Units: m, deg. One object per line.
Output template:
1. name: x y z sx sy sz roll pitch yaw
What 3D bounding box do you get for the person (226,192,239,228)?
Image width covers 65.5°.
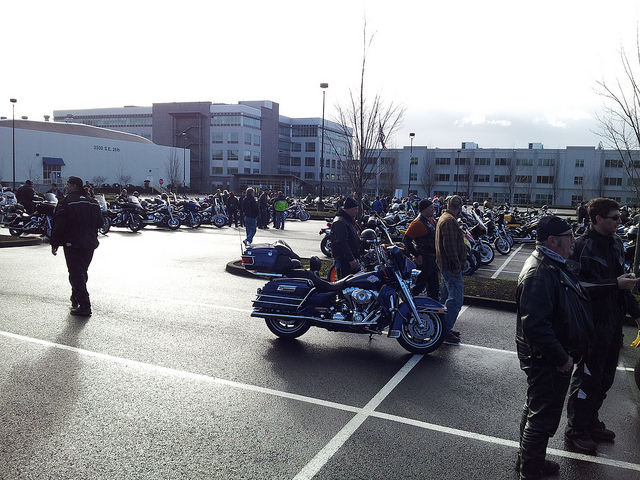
1. person: -5.139 -1.765 28.717 0.703 1.914 1.384 -1 9 -12

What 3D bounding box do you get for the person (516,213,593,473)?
1. person: 2.089 0.991 4.512 0.607 2.399 0.796 9 12 41

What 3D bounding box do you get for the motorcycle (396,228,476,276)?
1. motorcycle: 3.273 0.416 13.817 2.290 1.553 1.312 0 11 5

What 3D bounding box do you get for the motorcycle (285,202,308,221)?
1. motorcycle: -1.664 -1.999 35.386 1.484 1.032 0.966 8 26 16

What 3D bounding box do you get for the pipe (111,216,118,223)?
1. pipe: -9.883 -0.963 23.591 0.422 0.062 0.066 -40 32 -10

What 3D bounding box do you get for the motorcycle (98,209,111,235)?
1. motorcycle: -9.466 -0.747 21.604 0.501 1.191 3.291 -3 10 -24

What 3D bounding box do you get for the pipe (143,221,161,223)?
1. pipe: -8.376 -0.898 24.518 0.713 0.072 0.144 -7 12 -42

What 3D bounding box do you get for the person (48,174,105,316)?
1. person: -4.432 0.082 8.942 0.787 2.377 1.029 -2 9 -17

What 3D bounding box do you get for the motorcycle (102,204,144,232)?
1. motorcycle: -9.323 -1.081 23.495 1.439 1.217 0.800 3 9 9

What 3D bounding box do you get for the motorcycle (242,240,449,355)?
1. motorcycle: 0.406 0.787 8.163 3.276 2.042 1.486 2 10 6

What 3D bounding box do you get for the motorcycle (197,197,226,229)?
1. motorcycle: -6.458 -1.581 28.145 2.311 1.611 1.318 7 1 11

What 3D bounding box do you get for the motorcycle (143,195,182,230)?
1. motorcycle: -8.364 -1.472 24.890 2.473 1.576 1.517 8 -5 -24

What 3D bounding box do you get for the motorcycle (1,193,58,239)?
1. motorcycle: -11.365 -0.970 19.257 1.638 1.760 3.135 -5 11 -36

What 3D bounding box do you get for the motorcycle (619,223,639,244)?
1. motorcycle: 8.658 -0.159 13.766 0.205 0.602 3.117 6 10 28
